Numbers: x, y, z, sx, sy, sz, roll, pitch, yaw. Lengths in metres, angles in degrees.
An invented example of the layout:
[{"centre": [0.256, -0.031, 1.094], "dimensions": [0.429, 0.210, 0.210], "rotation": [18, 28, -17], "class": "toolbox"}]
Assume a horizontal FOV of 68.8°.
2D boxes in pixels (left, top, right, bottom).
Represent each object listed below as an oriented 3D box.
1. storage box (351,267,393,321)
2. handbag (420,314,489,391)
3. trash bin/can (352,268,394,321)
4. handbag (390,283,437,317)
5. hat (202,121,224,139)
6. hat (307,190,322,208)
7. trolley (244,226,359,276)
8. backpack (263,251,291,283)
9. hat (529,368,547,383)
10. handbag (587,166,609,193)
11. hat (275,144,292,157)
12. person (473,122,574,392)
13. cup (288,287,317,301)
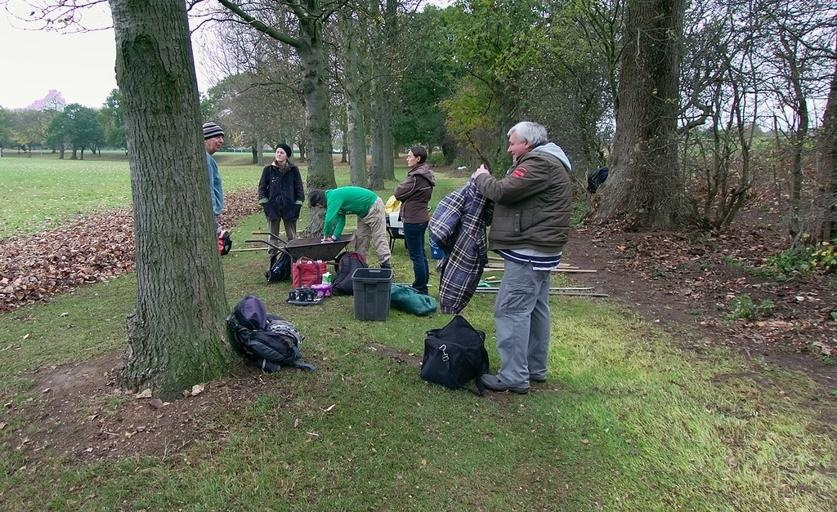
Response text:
[{"centre": [-0.832, 0.716, 10.852], "dimensions": [0.754, 0.686, 0.936], "rotation": [1, 2, -9], "class": "storage box"}, {"centre": [0.616, 1.449, 9.558], "dimensions": [1.003, 1.006, 1.121], "rotation": [0, -3, 34], "class": "handbag"}, {"centre": [-0.790, 0.682, 10.478], "dimensions": [0.662, 0.644, 0.866], "rotation": [1, 5, 1], "class": "trash bin/can"}, {"centre": [-0.110, 0.780, 10.966], "dimensions": [0.469, 0.280, 0.785], "rotation": [-4, 8, -42], "class": "handbag"}, {"centre": [-3.668, -2.240, 10.892], "dimensions": [0.329, 0.341, 0.696], "rotation": [-3, 8, -18], "class": "hat"}, {"centre": [-2.091, -1.159, 12.369], "dimensions": [0.328, 0.401, 0.411], "rotation": [-2, 3, -10], "class": "hat"}, {"centre": [-2.126, -0.040, 11.684], "dimensions": [1.875, 0.740, 0.900], "rotation": [-1, 14, 0], "class": "trolley"}, {"centre": [-2.784, 0.257, 12.082], "dimensions": [0.507, 0.633, 0.269], "rotation": [-10, -35, 37], "class": "backpack"}, {"centre": [1.834, 1.825, 9.380], "dimensions": [0.128, 0.280, 0.390], "rotation": [-3, 4, -13], "class": "hat"}, {"centre": [5.254, -2.308, 17.984], "dimensions": [0.305, 0.721, 0.695], "rotation": [14, -17, -13], "class": "handbag"}, {"centre": [-2.792, -2.190, 12.571], "dimensions": [0.243, 0.291, 0.680], "rotation": [-1, 8, -6], "class": "hat"}, {"centre": [1.563, 0.027, 9.115], "dimensions": [1.311, 4.025, 0.586], "rotation": [1, 9, 4], "class": "person"}, {"centre": [-2.079, 0.687, 10.982], "dimensions": [0.255, 0.124, 0.338], "rotation": [2, 1, 23], "class": "cup"}]
